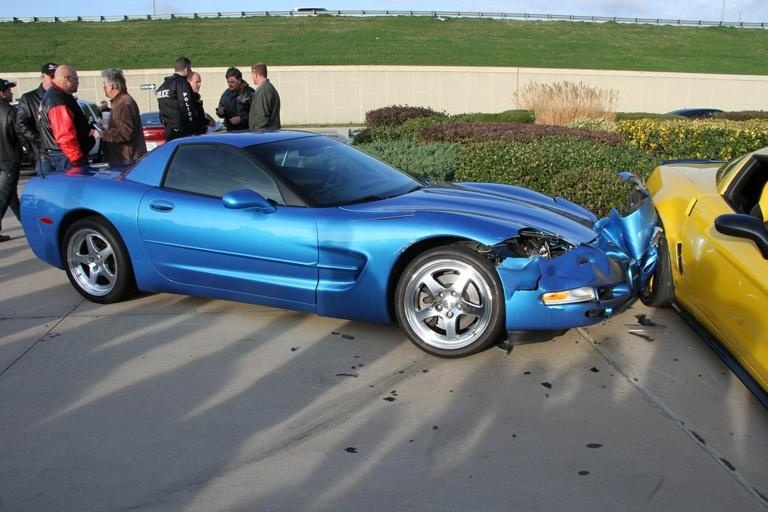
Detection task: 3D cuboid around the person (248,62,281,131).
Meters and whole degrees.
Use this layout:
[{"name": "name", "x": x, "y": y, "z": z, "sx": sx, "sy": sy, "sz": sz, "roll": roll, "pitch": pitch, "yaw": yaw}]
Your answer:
[{"name": "person", "x": -1.975, "y": -2.613, "z": 8.977, "sx": 0.515, "sy": 1.019, "sz": 0.794, "roll": -5, "pitch": 20, "yaw": -12}]

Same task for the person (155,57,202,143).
[{"name": "person", "x": -3.238, "y": -2.527, "z": 8.787, "sx": 0.703, "sy": 1.285, "sz": 0.751, "roll": -7, "pitch": 21, "yaw": -18}]

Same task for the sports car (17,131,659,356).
[{"name": "sports car", "x": -0.432, "y": -0.233, "z": 5.155, "sx": 4.906, "sy": 1.136, "sz": 2.414, "roll": 5, "pitch": 16, "yaw": 17}]
